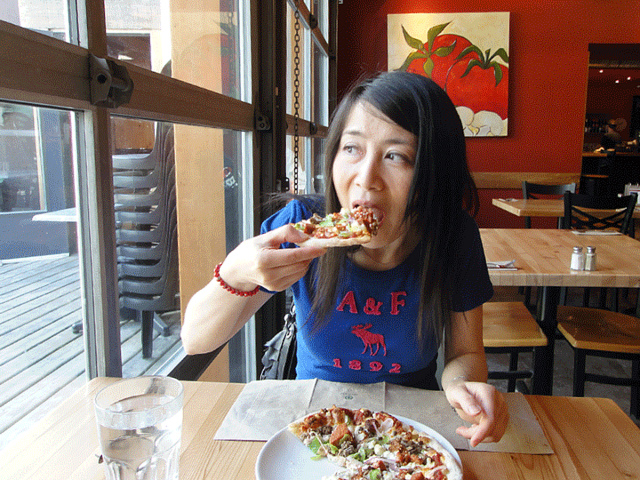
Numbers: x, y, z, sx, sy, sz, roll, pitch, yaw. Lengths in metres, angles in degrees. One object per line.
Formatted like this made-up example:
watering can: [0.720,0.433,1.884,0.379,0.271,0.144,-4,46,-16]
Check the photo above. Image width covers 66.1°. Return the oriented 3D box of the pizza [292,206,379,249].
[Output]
pizza: [0.058,-0.053,1.625,0.264,0.119,0.244,-3,13,-6]

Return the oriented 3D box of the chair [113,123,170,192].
chair: [-0.754,-0.329,1.953,0.239,0.227,0.192,8,22,5]
